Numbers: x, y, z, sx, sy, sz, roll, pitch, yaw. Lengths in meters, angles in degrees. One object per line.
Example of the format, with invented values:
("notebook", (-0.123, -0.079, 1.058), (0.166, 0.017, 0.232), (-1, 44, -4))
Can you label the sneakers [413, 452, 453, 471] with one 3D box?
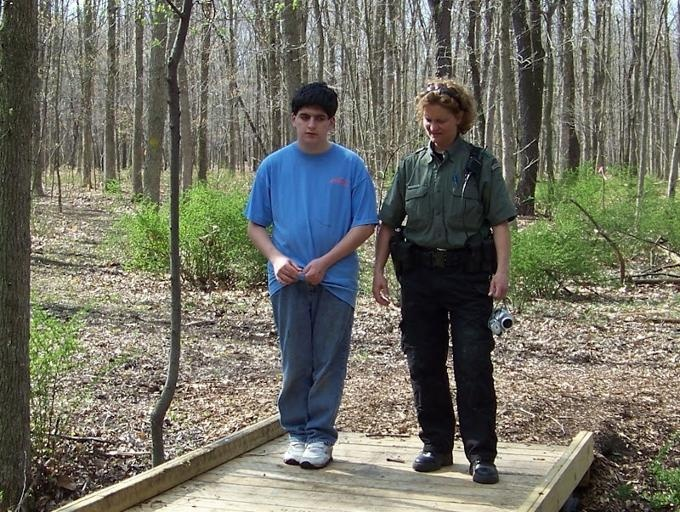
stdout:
("sneakers", (0.608, 1.389, 4.971), (0.303, 0.133, 0.103), (10, -9, -35))

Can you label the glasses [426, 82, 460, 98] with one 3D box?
("glasses", (0.665, -1.096, 4.827), (0.128, 0.042, 0.130), (10, -29, 23))

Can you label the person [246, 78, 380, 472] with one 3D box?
("person", (-0.165, 0.131, 5.017), (0.894, 2.601, 0.658), (-3, 10, -8))

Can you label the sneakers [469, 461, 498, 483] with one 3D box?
("sneakers", (0.923, 1.396, 4.759), (0.186, 0.135, 0.125), (1, 11, 17))

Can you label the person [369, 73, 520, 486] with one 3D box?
("person", (0.675, 0.137, 4.921), (0.870, 2.572, 0.619), (3, 11, 26))

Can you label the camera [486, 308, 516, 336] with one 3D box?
("camera", (1.081, 0.431, 4.884), (0.120, 0.197, 0.202), (32, 26, -2))
